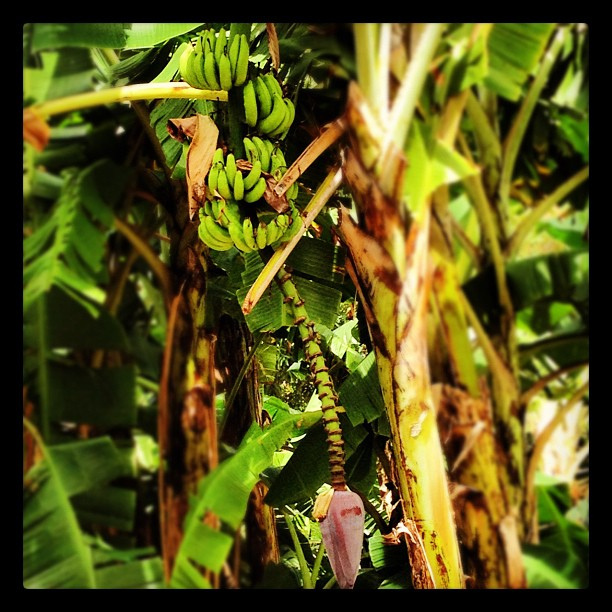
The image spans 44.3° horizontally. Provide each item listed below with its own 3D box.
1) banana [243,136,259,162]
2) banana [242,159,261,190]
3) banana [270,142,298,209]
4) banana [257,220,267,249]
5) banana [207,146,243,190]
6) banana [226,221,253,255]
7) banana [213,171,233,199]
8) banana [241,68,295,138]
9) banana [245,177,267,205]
[{"bbox_3d":[-0.109,-0.307,1.476,0.034,0.054,0.021,-9,-7,41],"label":"banana"},{"bbox_3d":[-0.107,-0.251,1.454,0.017,0.077,0.025,6,27,-21],"label":"banana"},{"bbox_3d":[-0.060,-0.278,1.534,0.032,0.170,0.060,-5,-36,-23],"label":"banana"},{"bbox_3d":[-0.086,-0.142,1.483,0.013,0.056,0.018,0,11,-14],"label":"banana"},{"bbox_3d":[-0.159,-0.269,1.452,0.050,0.087,0.025,-5,-3,3],"label":"banana"},{"bbox_3d":[-0.129,-0.129,1.522,0.022,0.032,0.096,16,-38,40],"label":"banana"},{"bbox_3d":[-0.160,-0.228,1.450,0.014,0.077,0.026,-12,5,-11],"label":"banana"},{"bbox_3d":[-0.079,-0.421,1.525,0.094,0.139,0.069,-12,-33,-35],"label":"banana"},{"bbox_3d":[-0.100,-0.228,1.463,0.012,0.040,0.025,17,21,-39],"label":"banana"}]
